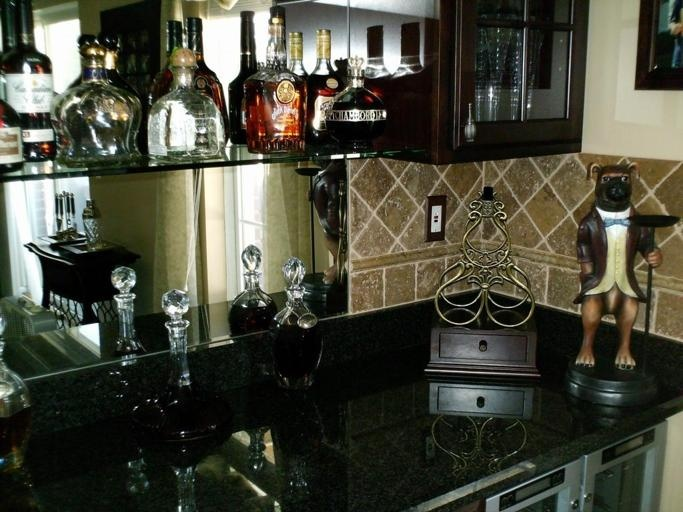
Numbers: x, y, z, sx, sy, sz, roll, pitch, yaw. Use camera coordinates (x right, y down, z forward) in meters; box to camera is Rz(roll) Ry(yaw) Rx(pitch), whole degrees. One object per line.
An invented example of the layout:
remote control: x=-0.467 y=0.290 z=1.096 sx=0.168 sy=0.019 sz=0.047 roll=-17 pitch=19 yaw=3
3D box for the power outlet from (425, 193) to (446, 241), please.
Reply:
power outlet: x=0.320 y=-0.129 z=2.095 sx=0.092 sy=0.161 sz=0.011 roll=-13 pitch=18 yaw=-34

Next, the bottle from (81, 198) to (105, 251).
bottle: x=-0.630 y=-0.077 z=1.542 sx=0.045 sy=0.132 sz=0.006 roll=-9 pitch=16 yaw=-23

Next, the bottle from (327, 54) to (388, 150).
bottle: x=0.029 y=-0.410 z=1.633 sx=0.135 sy=0.235 sz=0.131 roll=-3 pitch=15 yaw=1

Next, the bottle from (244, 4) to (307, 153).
bottle: x=-0.169 y=-0.425 z=1.518 sx=0.155 sy=0.327 sz=0.131 roll=-5 pitch=15 yaw=-8

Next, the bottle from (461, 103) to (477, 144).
bottle: x=0.336 y=-0.349 z=1.598 sx=0.033 sy=0.105 sz=0.055 roll=2 pitch=16 yaw=16
